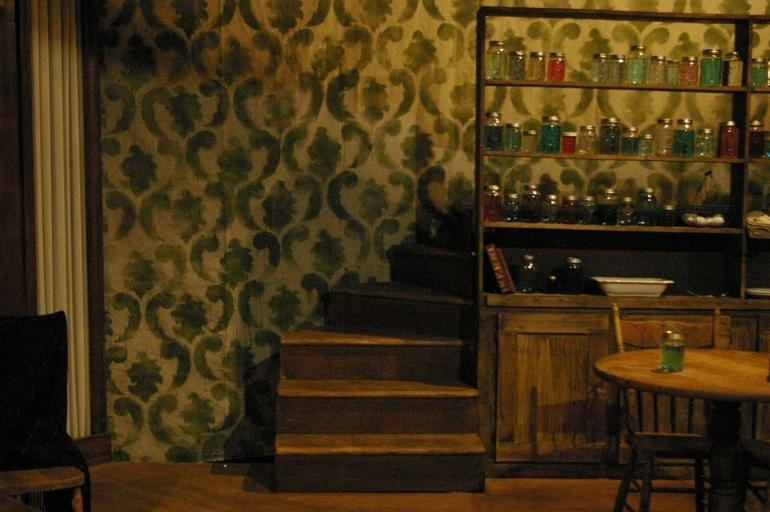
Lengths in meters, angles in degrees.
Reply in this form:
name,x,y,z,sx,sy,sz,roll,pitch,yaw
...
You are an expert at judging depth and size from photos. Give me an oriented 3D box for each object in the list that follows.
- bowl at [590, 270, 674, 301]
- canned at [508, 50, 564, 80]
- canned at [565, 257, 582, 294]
name,x,y,z,sx,sy,sz,roll,pitch,yaw
bowl,1.682,0.211,8.101,0.532,0.113,0.454,2,1,7
canned,1.005,-1.253,7.960,0.295,0.129,0.087,1,8,-1
canned,1.262,0.137,7.996,0.111,0.197,0.088,3,1,9
